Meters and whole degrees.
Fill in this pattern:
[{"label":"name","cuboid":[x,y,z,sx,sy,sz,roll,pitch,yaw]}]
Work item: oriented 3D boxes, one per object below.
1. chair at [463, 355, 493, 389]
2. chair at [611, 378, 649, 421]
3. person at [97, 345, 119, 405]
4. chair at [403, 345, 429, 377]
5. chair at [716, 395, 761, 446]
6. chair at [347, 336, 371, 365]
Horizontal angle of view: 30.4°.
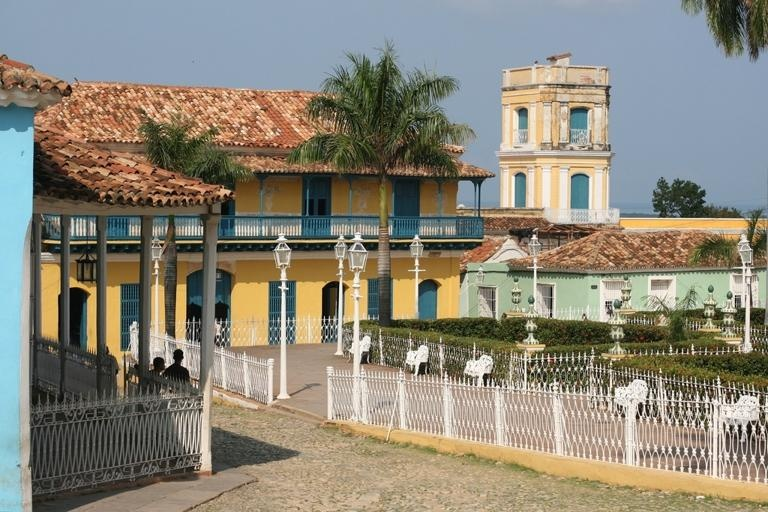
[{"label":"chair","cuboid":[2.634,3.013,37.655,0.881,0.913,0.630,-1,-1,43]},{"label":"chair","cuboid":[5.416,3.137,30.938,0.503,1.119,2.625,-1,-2,18]},{"label":"person","cuboid":[-5.982,2.531,30.554,0.445,1.139,1.734,1,0,-12]},{"label":"chair","cuboid":[0.868,2.910,40.124,0.807,0.843,0.624,5,-6,-39]},{"label":"chair","cuboid":[7.500,3.434,29.896,0.890,0.662,1.553,0,-4,-2]},{"label":"chair","cuboid":[-0.677,2.852,42.698,0.783,0.971,0.704,3,-6,-23]}]
